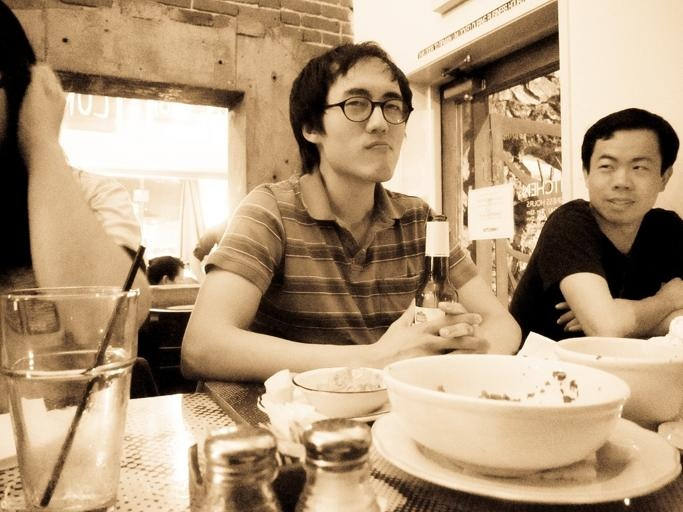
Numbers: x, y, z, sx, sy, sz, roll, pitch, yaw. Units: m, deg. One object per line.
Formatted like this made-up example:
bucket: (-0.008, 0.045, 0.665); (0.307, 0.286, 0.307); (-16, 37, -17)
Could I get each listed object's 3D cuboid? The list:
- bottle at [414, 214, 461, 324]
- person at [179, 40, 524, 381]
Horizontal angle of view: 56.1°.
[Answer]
bottle: (0.271, 0.043, 1.844); (0.121, 0.320, 0.229); (1, 6, 9)
person: (0.092, -0.203, 2.060); (0.886, 1.101, 0.990); (3, 6, 23)
